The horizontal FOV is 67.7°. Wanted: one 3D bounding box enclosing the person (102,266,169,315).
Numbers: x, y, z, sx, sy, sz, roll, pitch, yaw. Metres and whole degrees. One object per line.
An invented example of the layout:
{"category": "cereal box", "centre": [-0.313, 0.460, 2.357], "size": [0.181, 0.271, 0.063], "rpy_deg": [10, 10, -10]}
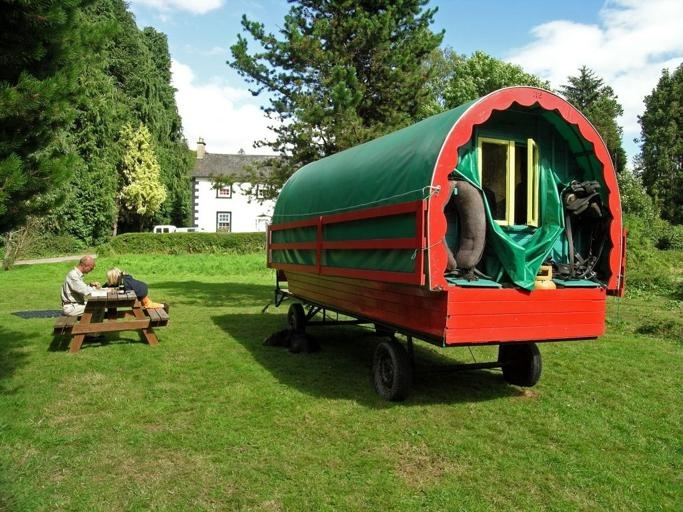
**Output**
{"category": "person", "centre": [-4.080, 0.678, 10.219], "size": [1.474, 0.582, 1.041], "rpy_deg": [17, -6, -22]}

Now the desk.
{"category": "desk", "centre": [-4.612, 1.108, 10.382], "size": [1.631, 1.157, 3.313], "rpy_deg": [-2, 7, -26]}
